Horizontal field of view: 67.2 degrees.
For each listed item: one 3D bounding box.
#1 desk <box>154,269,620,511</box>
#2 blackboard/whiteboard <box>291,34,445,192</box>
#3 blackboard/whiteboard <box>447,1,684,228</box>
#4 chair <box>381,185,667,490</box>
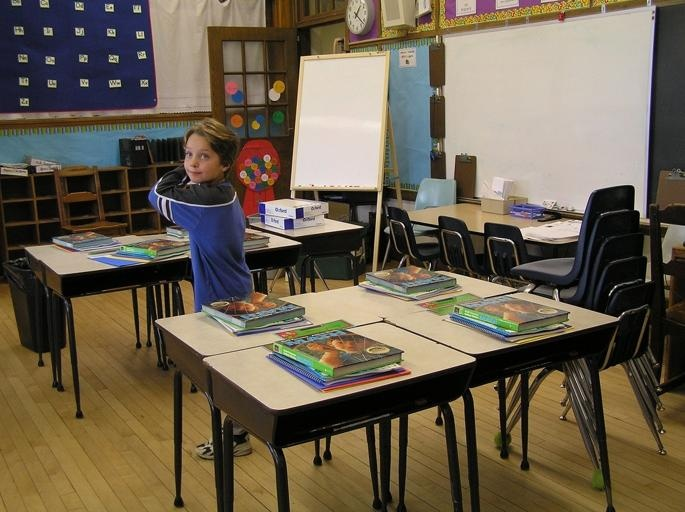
[{"bbox_3d":[0.151,0.746,2.295,1.721,1.026,1.068,-7,15,-23],"label":"desk"},{"bbox_3d":[0.351,-1.615,5.931,0.657,2.031,1.668,-13,17,-40],"label":"blackboard/whiteboard"},{"bbox_3d":[2.015,-1.286,4.559,0.088,1.710,2.303,-7,11,-34],"label":"blackboard/whiteboard"},{"bbox_3d":[0.966,0.340,2.890,0.992,1.623,1.223,-2,1,-15],"label":"chair"}]
